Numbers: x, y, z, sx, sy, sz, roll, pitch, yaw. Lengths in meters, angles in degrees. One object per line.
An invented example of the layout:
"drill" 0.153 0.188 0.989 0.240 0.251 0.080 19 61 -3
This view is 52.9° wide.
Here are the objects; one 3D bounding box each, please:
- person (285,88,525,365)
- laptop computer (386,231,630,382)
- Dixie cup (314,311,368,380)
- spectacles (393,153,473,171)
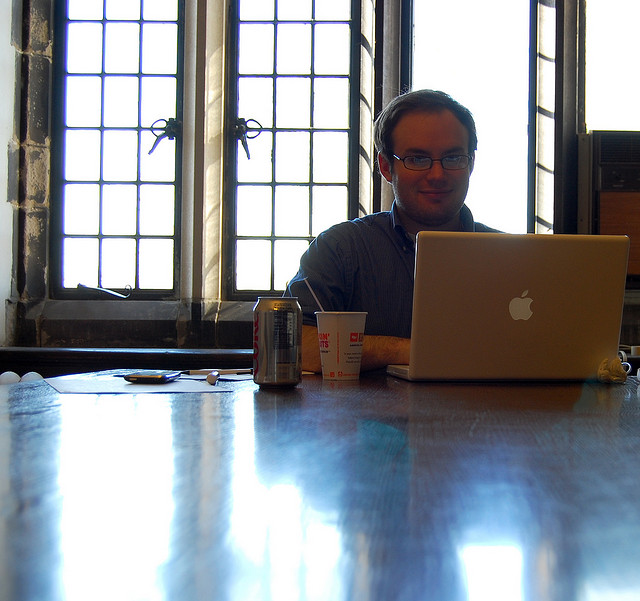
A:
"person" 0.293 -0.172 2.004 0.849 0.976 0.472 -2 8 -20
"laptop computer" 0.351 -0.005 1.222 0.372 0.277 0.295 3 9 -3
"Dixie cup" 0.044 0.075 1.242 0.097 0.148 0.115 1 4 4
"spectacles" 0.330 -0.413 1.915 0.221 0.058 0.049 0 0 11
